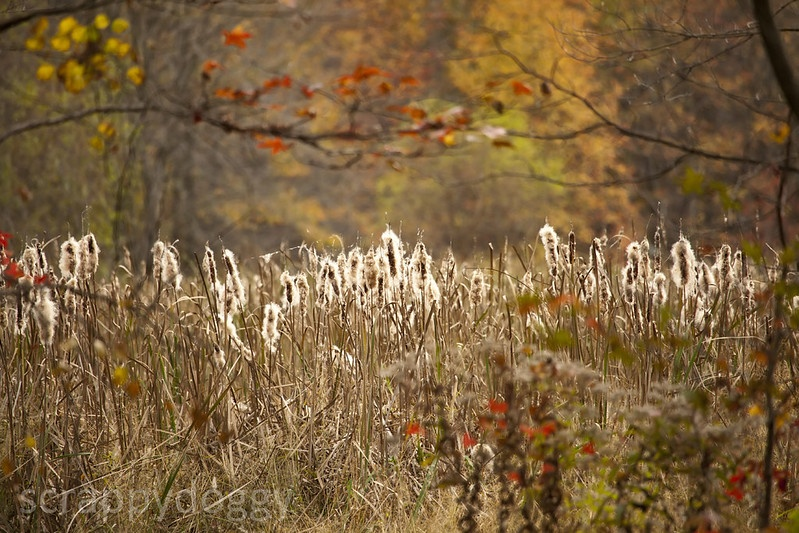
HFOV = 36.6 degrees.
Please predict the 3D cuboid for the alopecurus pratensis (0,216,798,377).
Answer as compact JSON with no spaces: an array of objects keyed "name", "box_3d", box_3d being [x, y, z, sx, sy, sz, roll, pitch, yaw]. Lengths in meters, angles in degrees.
[{"name":"alopecurus pratensis","box_3d":[0.225,0.122,8.967,3.846,0.774,2.358,1,-4,-12]}]
